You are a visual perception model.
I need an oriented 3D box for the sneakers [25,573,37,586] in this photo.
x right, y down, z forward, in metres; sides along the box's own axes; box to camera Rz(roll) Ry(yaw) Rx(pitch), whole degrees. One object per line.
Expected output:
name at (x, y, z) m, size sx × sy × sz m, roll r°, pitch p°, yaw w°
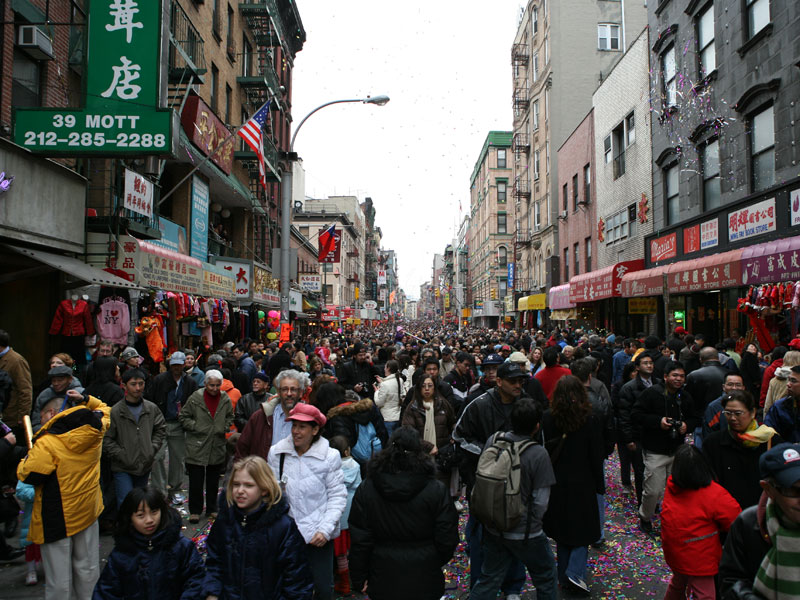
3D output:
sneakers at (-4.689, 3.522, 9.648) m, size 0.079 × 0.135 × 0.176 m, roll 5°, pitch -23°, yaw -28°

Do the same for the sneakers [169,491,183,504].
sneakers at (-3.744, 3.246, 12.659) m, size 0.210 × 0.078 × 0.213 m, roll 7°, pitch -7°, yaw -31°

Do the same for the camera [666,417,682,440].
camera at (3.864, 1.808, 10.731) m, size 0.279 × 0.244 × 0.308 m, roll 3°, pitch -2°, yaw 9°

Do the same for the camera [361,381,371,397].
camera at (-0.697, 1.718, 14.826) m, size 0.177 × 0.373 × 0.199 m, roll 1°, pitch 39°, yaw 4°

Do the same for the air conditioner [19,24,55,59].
air conditioner at (-7.432, -5.292, 15.450) m, size 0.415 × 0.562 × 0.860 m, roll 0°, pitch -5°, yaw -8°

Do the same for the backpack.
backpack at (1.129, 2.038, 8.423) m, size 0.705 × 1.111 × 0.270 m, roll -1°, pitch -4°, yaw 3°
